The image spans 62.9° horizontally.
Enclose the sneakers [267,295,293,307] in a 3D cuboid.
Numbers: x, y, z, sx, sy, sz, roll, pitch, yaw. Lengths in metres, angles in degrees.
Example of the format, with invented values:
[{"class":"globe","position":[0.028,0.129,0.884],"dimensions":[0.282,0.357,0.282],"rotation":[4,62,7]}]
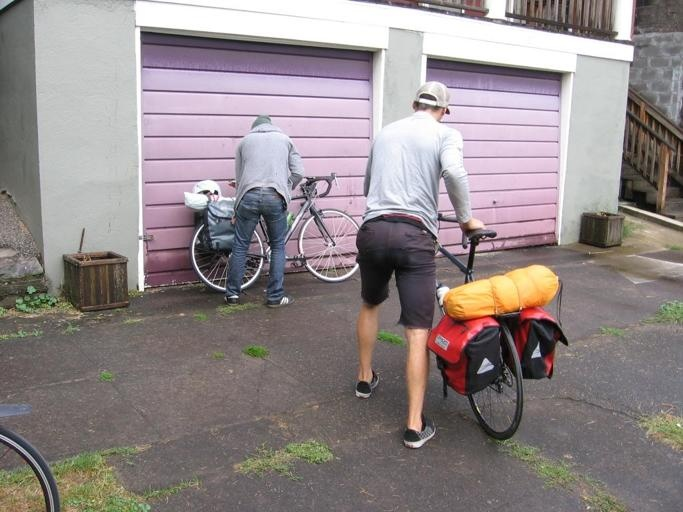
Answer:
[{"class":"sneakers","position":[-0.735,0.548,6.684],"dimensions":[0.316,0.148,0.108],"rotation":[-17,21,-42]}]

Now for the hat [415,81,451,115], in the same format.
[{"class":"hat","position":[0.713,-1.207,4.340],"dimensions":[0.231,0.226,0.388],"rotation":[6,16,13]}]

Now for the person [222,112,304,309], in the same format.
[{"class":"person","position":[-0.972,-0.459,6.510],"dimensions":[0.735,2.043,0.421],"rotation":[0,14,-6]}]

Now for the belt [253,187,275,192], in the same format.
[{"class":"belt","position":[-0.861,-0.749,6.327],"dimensions":[0.213,0.048,0.028],"rotation":[-3,15,-17]}]

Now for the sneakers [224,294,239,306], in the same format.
[{"class":"sneakers","position":[-1.273,0.511,6.524],"dimensions":[0.095,0.124,0.126],"rotation":[5,1,-17]}]

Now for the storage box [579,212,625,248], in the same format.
[{"class":"storage box","position":[4.851,-0.473,10.364],"dimensions":[0.629,0.573,0.649],"rotation":[-2,12,-18]}]

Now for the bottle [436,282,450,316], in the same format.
[{"class":"bottle","position":[0.753,0.318,4.150],"dimensions":[0.109,0.226,0.076],"rotation":[-12,-5,21]}]

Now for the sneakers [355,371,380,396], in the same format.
[{"class":"sneakers","position":[0.218,1.051,4.614],"dimensions":[0.093,0.112,0.267],"rotation":[2,11,12]}]

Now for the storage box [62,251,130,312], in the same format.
[{"class":"storage box","position":[-2.802,0.250,6.381],"dimensions":[0.640,0.655,0.635],"rotation":[-5,10,-39]}]
